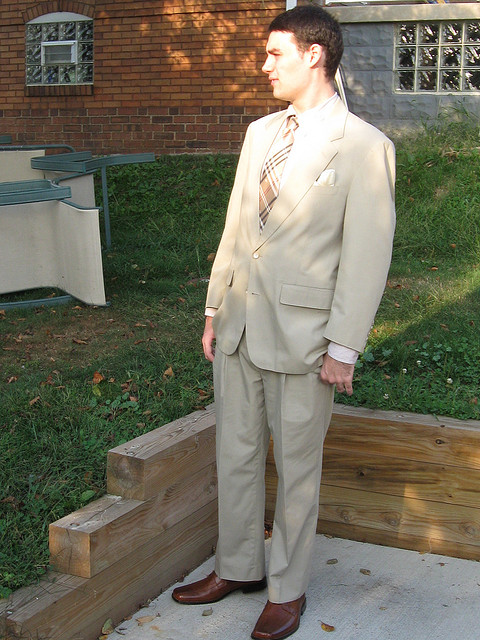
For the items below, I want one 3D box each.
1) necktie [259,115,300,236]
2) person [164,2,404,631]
[{"bbox_3d":[0.114,-0.442,1.650,0.103,0.353,0.102,1,1,-6],"label":"necktie"},{"bbox_3d":[0.133,0.068,1.743,0.343,1.902,0.646,0,1,-31],"label":"person"}]
